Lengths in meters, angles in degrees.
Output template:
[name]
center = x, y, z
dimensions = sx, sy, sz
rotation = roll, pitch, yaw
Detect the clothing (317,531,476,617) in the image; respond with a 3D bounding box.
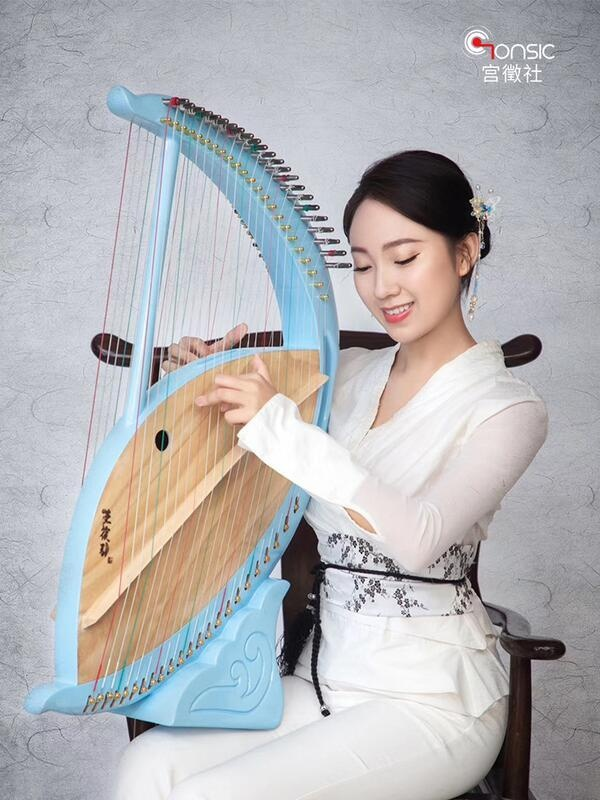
[clothing]
center = 0.156, 0.259, 1.343
dimensions = 0.173, 0.074, 0.170
rotation = 0, -9, 33

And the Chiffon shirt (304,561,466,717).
[Chiffon shirt]
center = 0.095, 0.386, 1.418
dimensions = 0.260, 0.222, 0.067
rotation = 4, -4, 17
